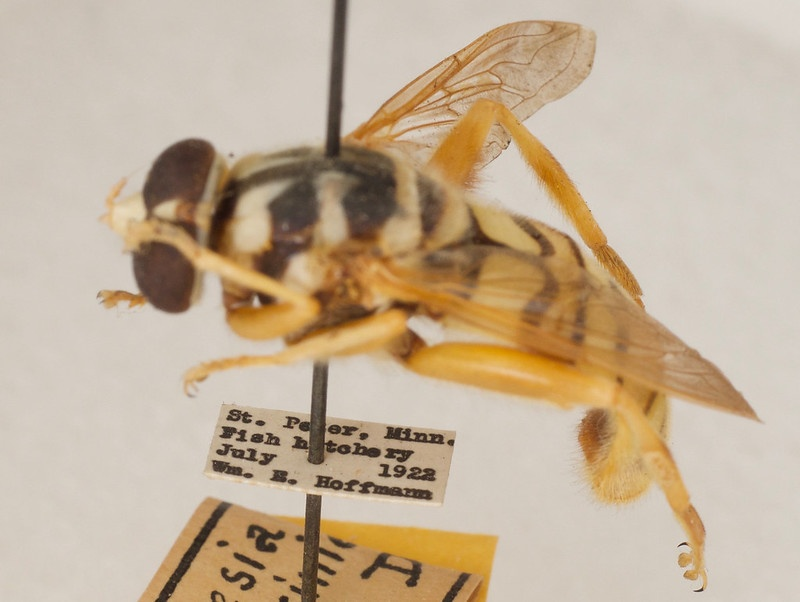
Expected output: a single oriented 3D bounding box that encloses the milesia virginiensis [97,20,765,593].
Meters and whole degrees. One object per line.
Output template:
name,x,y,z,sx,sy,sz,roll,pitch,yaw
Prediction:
milesia virginiensis,0.076,-0.118,1.536,1.004,0.919,0.418,16,-17,-17
